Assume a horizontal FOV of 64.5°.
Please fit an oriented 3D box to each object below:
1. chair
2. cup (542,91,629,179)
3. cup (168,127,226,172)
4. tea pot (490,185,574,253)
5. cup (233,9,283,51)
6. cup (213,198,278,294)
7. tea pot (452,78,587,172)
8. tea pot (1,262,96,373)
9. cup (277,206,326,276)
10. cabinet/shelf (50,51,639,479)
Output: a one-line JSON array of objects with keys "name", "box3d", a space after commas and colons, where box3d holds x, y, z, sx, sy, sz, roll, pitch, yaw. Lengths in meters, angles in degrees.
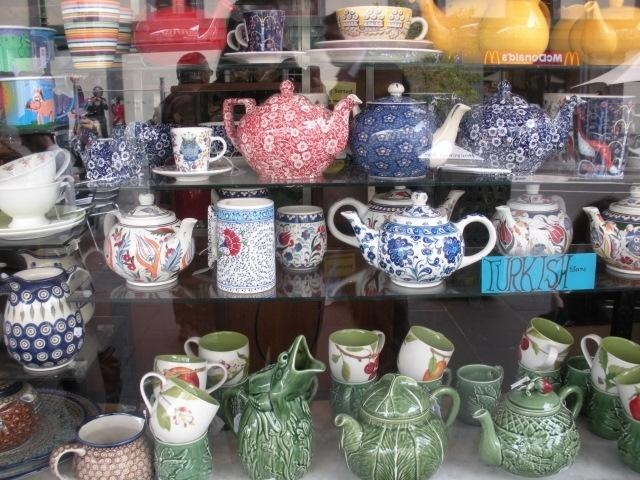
[{"name": "chair", "box3d": [-0.466, -0.057, 1.139, 0.136, 0.161, 0.116, 1, 22, -9]}, {"name": "cup", "box3d": [0.575, -0.250, 1.186, 0.193, 0.167, 0.158, 1, 7, 5]}, {"name": "cup", "box3d": [-0.252, -0.180, 1.008, 0.115, 0.086, 0.074, -3, 9, -23]}, {"name": "tea pot", "box3d": [0.453, -0.047, 1.090, 0.176, 0.120, 0.116, -8, 9, -42]}, {"name": "cup", "box3d": [-0.122, -0.419, 1.023, 0.108, 0.076, 0.073, 6, 13, 28]}, {"name": "cup", "box3d": [-0.154, 0.017, 1.039, 0.119, 0.180, 0.076, -4, 18, -11]}, {"name": "tea pot", "box3d": [0.413, -0.217, 1.041, 0.245, 0.168, 0.164, -1, 10, 1]}, {"name": "tea pot", "box3d": [-0.598, 0.171, 1.177, 0.242, 0.245, 0.170, -1, 5, -31]}, {"name": "cup", "box3d": [-0.039, 0.005, 1.164, 0.125, 0.131, 0.128, 0, 10, 0]}, {"name": "cabinet/shelf", "box3d": [0.094, 0.190, 1.353, 1.260, 0.640, 0.661, 0, 10, -1]}]
